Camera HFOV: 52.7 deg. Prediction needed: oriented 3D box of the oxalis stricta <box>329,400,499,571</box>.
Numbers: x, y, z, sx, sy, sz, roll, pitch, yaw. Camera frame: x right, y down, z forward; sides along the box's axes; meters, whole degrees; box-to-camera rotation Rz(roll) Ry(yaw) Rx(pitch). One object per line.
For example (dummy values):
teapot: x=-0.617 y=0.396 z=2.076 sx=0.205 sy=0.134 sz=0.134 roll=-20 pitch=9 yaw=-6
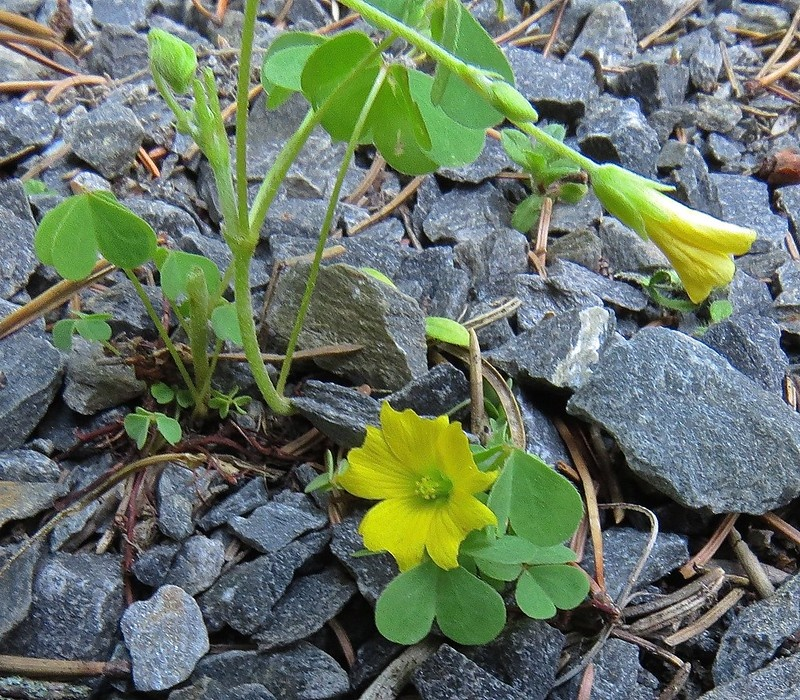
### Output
oxalis stricta: x=0.057 y=0.237 z=1.461 sx=0.273 sy=0.130 sz=0.286 roll=-23 pitch=24 yaw=-25
